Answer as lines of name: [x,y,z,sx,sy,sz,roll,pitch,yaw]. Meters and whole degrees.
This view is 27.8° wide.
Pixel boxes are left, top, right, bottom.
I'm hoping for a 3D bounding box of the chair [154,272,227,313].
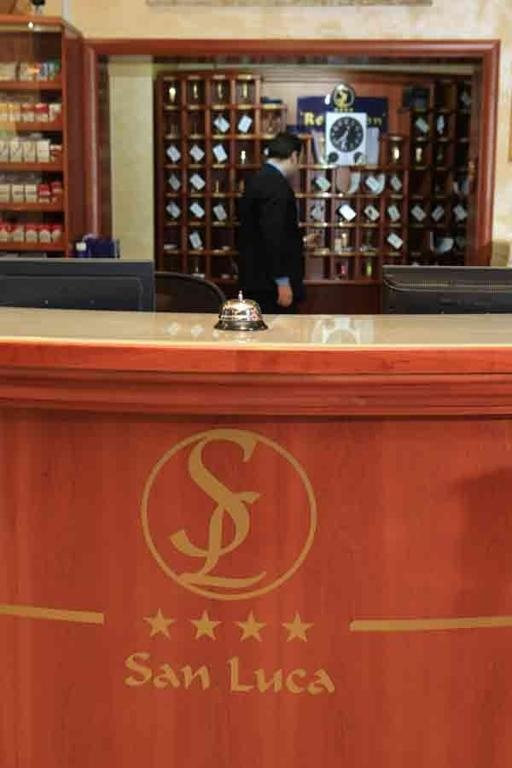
chair: [-0.213,-0.283,3.219,0.219,0.125,0.178,0,7,1]
